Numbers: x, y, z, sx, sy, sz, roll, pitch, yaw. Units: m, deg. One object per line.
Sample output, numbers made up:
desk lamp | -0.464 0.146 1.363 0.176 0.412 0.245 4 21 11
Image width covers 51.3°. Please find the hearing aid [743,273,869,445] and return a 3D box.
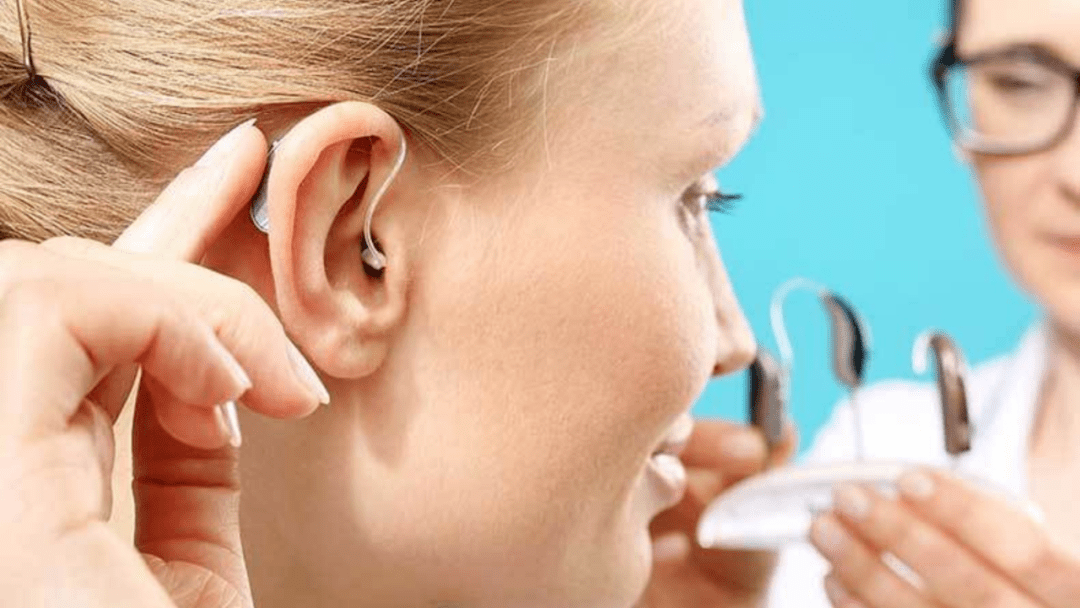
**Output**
hearing aid | 0.278 0.066 1.140 0.108 0.179 0.041 3 -15 6
